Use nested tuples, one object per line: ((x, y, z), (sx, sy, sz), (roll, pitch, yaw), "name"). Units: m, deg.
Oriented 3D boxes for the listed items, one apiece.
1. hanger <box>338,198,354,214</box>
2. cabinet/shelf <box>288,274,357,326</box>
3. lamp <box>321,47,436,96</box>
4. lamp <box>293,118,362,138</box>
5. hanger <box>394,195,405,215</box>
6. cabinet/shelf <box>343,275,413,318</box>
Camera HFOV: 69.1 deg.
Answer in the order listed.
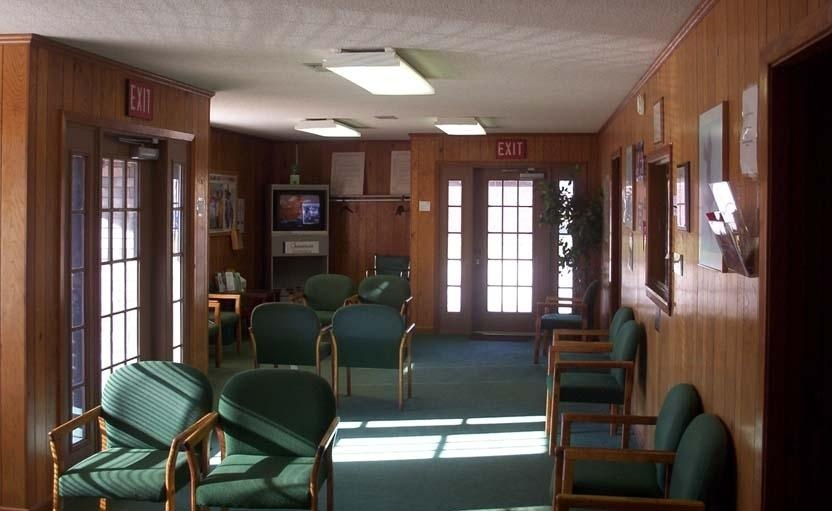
((-1.265, -0.894, 10.721), (0.258, 0.255, 0.061), (3, 7, 11), "hanger")
((-1.236, 0.560, 7.947), (0.619, 0.730, 0.613), (1, -2, 2), "cabinet/shelf")
((-0.318, -1.634, 5.365), (0.626, 0.180, 0.995), (2, 3, 21), "lamp")
((-1.261, -1.813, 8.488), (0.590, 0.163, 0.815), (2, 3, 21), "lamp")
((-0.291, -0.885, 10.596), (0.214, 0.283, 0.069), (2, 4, 15), "hanger")
((-0.480, 0.477, 7.953), (0.615, 0.779, 0.640), (1, -1, 8), "cabinet/shelf")
